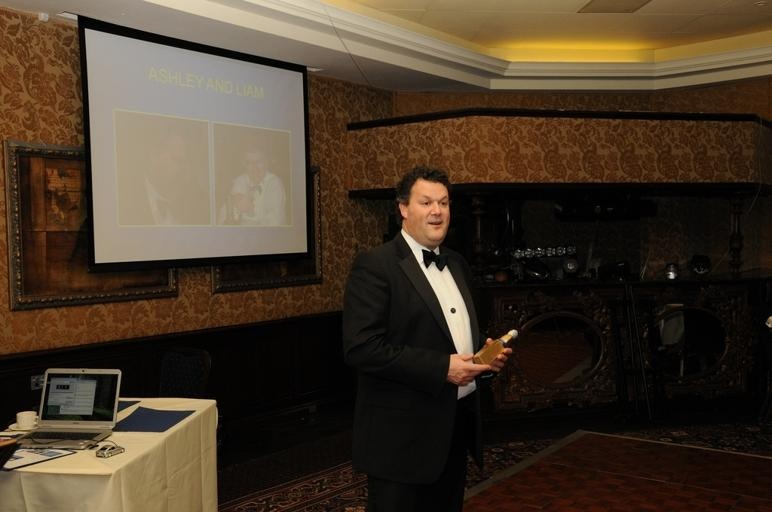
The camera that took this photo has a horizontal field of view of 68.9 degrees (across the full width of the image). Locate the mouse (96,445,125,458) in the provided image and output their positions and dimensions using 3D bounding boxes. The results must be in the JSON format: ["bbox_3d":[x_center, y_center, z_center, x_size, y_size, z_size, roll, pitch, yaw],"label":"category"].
[{"bbox_3d":[-1.649,1.167,3.363,0.070,0.041,0.128,4,6,24],"label":"mouse"}]

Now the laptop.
[{"bbox_3d":[-2.031,0.978,3.632,0.538,0.314,0.487,1,0,8],"label":"laptop"}]

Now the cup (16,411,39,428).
[{"bbox_3d":[-2.405,1.090,3.779,0.132,0.089,0.103,3,-5,-7],"label":"cup"}]
